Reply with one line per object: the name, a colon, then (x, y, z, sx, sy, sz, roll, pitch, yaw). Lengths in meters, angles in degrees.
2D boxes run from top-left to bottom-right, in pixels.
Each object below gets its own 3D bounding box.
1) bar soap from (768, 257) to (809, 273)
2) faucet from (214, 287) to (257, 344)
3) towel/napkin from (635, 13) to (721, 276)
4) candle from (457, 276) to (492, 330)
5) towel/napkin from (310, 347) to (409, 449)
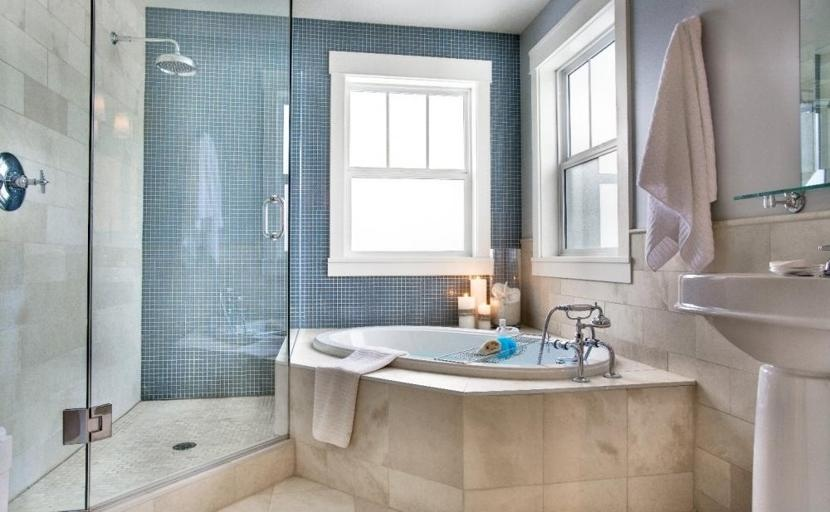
bar soap: (1.519, 0.050, 2.508, 0.077, 0.052, 0.144, -2, 1, -23)
faucet: (-0.990, 0.327, 3.330, 0.056, 0.258, 0.195, -3, 1, 42)
towel/napkin: (1.360, -0.582, 3.153, 0.365, 1.332, 0.208, -1, 1, 25)
candle: (0.449, 0.361, 4.666, 0.252, 0.388, 0.230, -2, 1, 3)
towel/napkin: (-0.416, 0.845, 3.516, 0.294, 0.399, 0.370, 6, -5, 19)
